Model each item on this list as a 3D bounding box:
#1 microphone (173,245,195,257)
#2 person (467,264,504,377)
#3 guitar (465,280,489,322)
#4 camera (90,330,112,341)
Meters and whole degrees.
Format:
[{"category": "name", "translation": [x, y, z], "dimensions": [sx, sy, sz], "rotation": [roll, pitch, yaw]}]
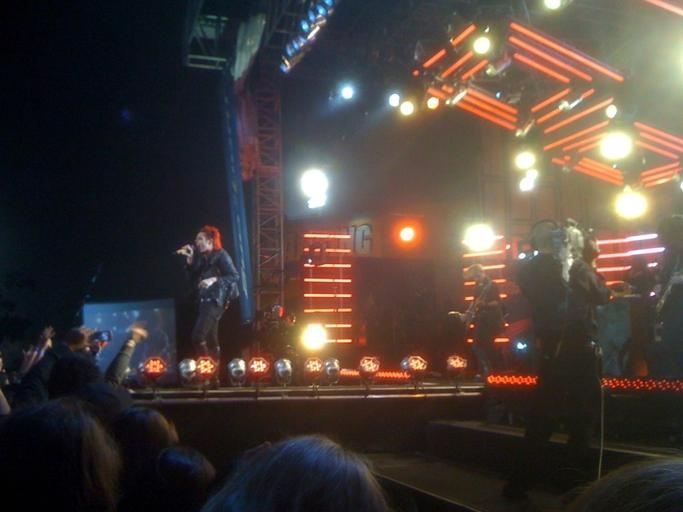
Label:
[{"category": "microphone", "translation": [-3.532, -0.125, 13.353], "dimensions": [0.418, 0.249, 0.290], "rotation": [1, -8, 42]}, {"category": "person", "translation": [3.330, 1.431, 13.766], "dimensions": [0.764, 2.649, 0.750], "rotation": [-10, -15, 39]}, {"category": "guitar", "translation": [3.203, 1.031, 13.917], "dimensions": [0.211, 0.951, 0.652], "rotation": [15, 13, 4]}, {"category": "camera", "translation": [-3.851, 1.278, 9.573], "dimensions": [0.489, 0.170, 0.497], "rotation": [2, -7, -36]}]
